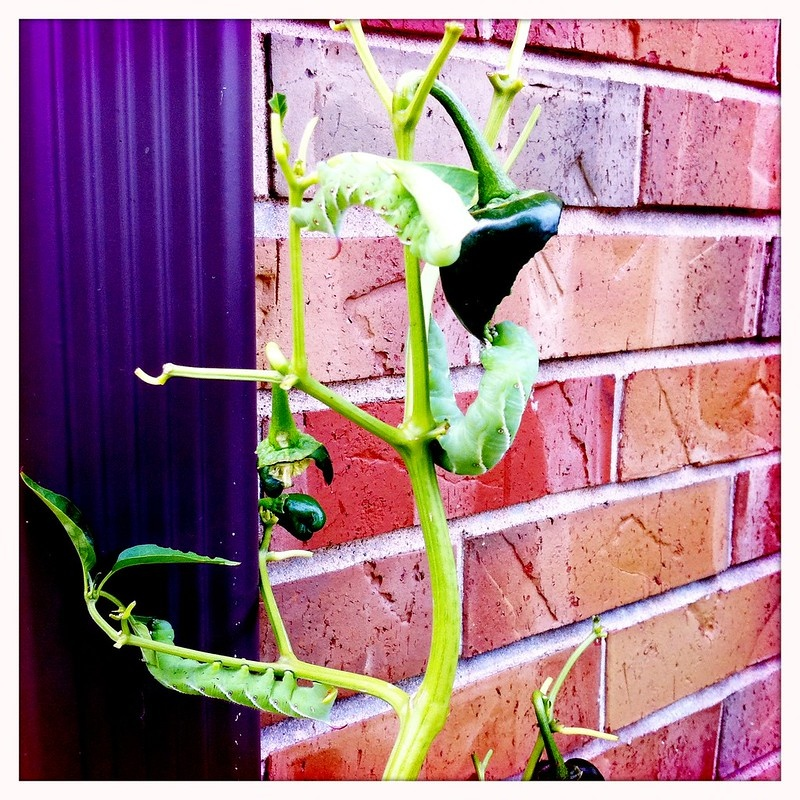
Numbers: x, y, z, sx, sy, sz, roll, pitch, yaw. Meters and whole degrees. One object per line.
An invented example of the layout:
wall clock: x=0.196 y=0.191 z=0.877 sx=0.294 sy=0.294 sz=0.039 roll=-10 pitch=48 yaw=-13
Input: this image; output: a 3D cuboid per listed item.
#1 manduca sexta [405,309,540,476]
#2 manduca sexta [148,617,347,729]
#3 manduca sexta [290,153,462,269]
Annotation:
manduca sexta: x=0.034 y=-0.002 z=0.455 sx=0.017 sy=0.077 sz=0.063 roll=2 pitch=14 yaw=-39
manduca sexta: x=-0.088 y=0.149 z=0.513 sx=0.124 sy=0.043 sz=0.038 roll=19 pitch=-1 yaw=11
manduca sexta: x=-0.010 y=-0.091 z=0.432 sx=0.072 sy=0.036 sz=0.044 roll=19 pitch=57 yaw=16
